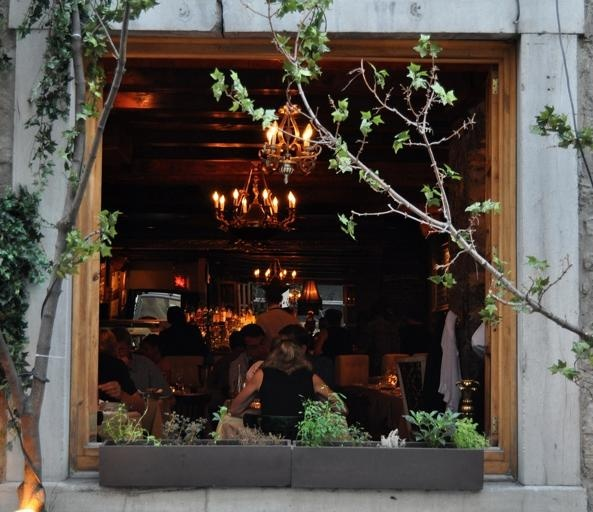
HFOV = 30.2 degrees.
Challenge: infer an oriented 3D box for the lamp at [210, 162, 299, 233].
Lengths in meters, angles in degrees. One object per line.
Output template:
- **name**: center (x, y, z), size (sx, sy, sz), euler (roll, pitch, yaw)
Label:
- **lamp**: center (-0.440, -0.521, 10.742), size (0.730, 0.550, 0.744), euler (2, 1, 39)

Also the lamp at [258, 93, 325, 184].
- **lamp**: center (-0.063, -0.849, 8.309), size (0.671, 0.602, 0.675), euler (0, 5, -22)

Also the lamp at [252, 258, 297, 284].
- **lamp**: center (-0.327, 0.239, 15.550), size (0.413, 0.258, 0.420), euler (3, -3, 2)
